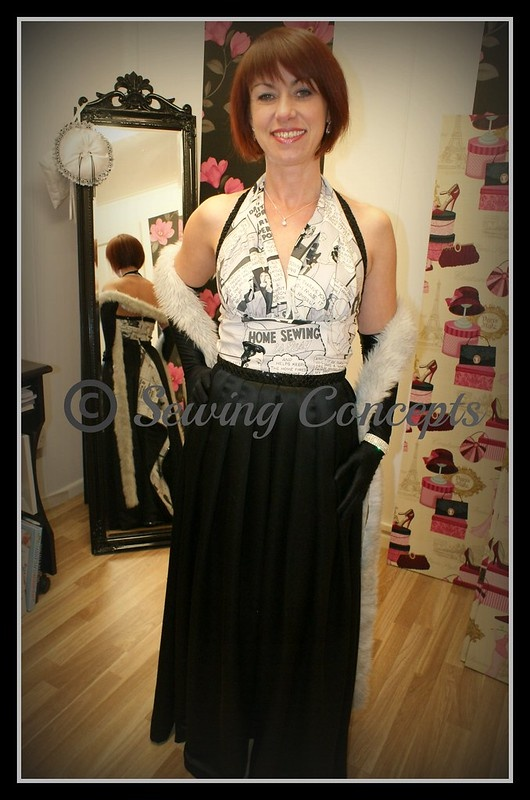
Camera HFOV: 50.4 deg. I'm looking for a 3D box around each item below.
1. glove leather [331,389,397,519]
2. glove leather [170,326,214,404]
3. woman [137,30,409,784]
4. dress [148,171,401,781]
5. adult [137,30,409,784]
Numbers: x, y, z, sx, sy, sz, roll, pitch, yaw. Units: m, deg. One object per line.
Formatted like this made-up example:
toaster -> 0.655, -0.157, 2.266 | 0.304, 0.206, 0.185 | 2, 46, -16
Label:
glove leather -> 0.190, 0.103, 1.139 | 0.053, 0.318, 0.113 | 22, -22, 11
glove leather -> -0.153, -0.066, 1.190 | 0.100, 0.153, 0.049 | -3, -10, -20
woman -> 0.040, 0.100, 1.158 | 0.494, 1.524, 0.271 | 2, 14, 10
dress -> -0.022, 0.203, 1.211 | 0.522, 1.214, 0.341 | 5, 14, -2
adult -> 0.040, 0.100, 1.158 | 0.494, 1.524, 0.271 | 2, 14, 10
